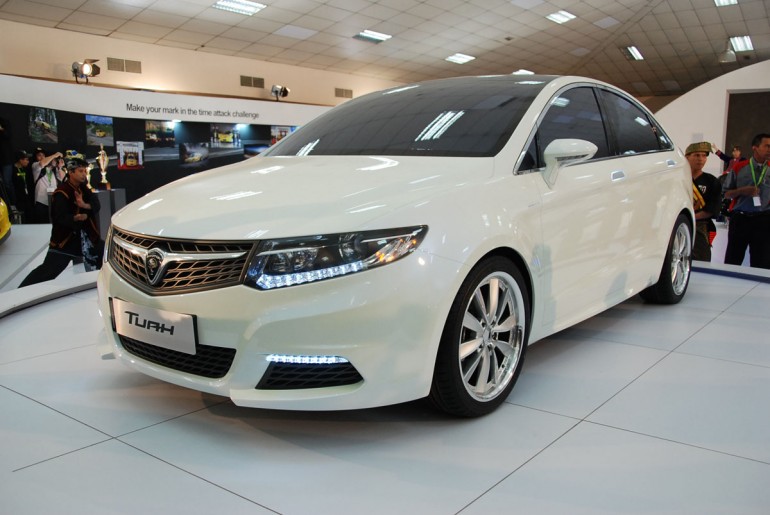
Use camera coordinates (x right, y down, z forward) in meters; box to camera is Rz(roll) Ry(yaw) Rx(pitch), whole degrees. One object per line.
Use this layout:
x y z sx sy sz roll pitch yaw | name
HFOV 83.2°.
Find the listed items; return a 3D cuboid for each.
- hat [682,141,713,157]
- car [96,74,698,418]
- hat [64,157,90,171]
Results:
4.016 -1.409 5.631 0.347 0.160 0.468 0 4 12 | hat
0.485 -0.280 2.579 1.702 1.191 3.164 4 6 43 | car
-4.576 -1.417 6.465 0.307 0.191 0.234 5 -8 -21 | hat
